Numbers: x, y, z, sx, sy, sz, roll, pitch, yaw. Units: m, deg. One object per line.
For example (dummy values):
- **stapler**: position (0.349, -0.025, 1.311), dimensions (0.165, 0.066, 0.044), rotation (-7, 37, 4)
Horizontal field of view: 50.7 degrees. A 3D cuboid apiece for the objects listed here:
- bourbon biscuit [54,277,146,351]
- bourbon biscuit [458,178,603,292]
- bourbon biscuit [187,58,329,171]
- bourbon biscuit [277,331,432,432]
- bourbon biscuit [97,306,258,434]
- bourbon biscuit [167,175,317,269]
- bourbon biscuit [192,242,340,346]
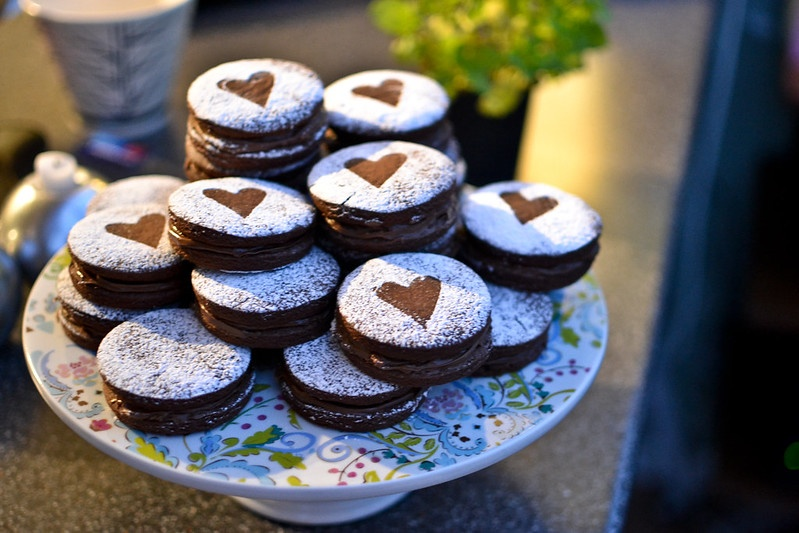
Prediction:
- **bourbon biscuit**: position (-0.531, 0.086, 1.476), dimensions (0.136, 0.061, 0.126), rotation (26, 42, 6)
- **bourbon biscuit**: position (0.226, -0.053, 1.500), dimensions (0.220, 0.073, 0.218), rotation (-24, 43, -30)
- **bourbon biscuit**: position (-0.262, -0.270, 1.517), dimensions (0.254, 0.125, 0.219), rotation (-9, 48, -12)
- **bourbon biscuit**: position (-0.092, 0.201, 1.475), dimensions (0.248, 0.068, 0.240), rotation (8, -2, 40)
- **bourbon biscuit**: position (-0.383, 0.196, 1.418), dimensions (0.229, 0.073, 0.230), rotation (-32, 28, -23)
- **bourbon biscuit**: position (-0.283, -0.082, 1.468), dimensions (0.256, 0.079, 0.236), rotation (14, 31, 14)
- **bourbon biscuit**: position (-0.203, 0.070, 1.474), dimensions (0.235, 0.071, 0.216), rotation (3, 16, 21)
